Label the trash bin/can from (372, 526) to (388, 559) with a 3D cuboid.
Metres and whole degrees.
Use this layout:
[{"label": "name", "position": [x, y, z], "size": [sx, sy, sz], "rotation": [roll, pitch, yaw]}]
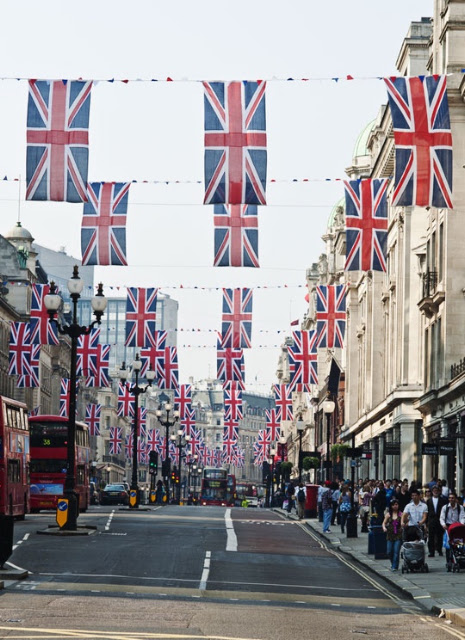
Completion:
[{"label": "trash bin/can", "position": [3.259, 4.916, 29.656], "size": [0.409, 0.999, 0.485], "rotation": [-2, -2, 6]}]
